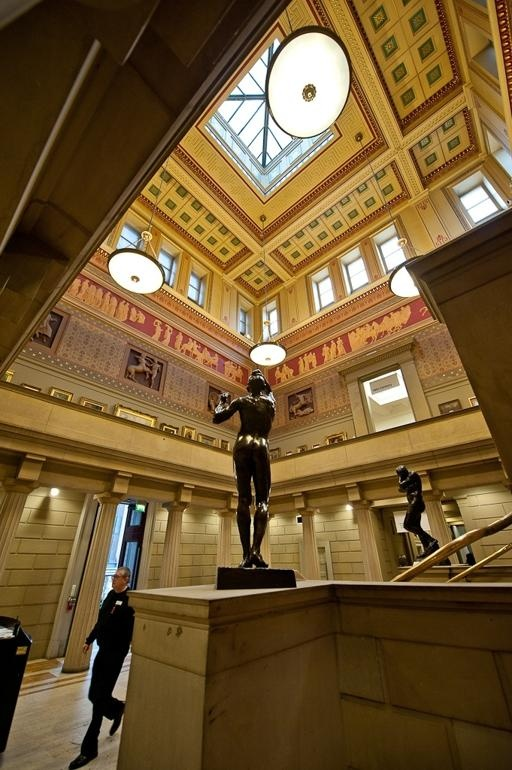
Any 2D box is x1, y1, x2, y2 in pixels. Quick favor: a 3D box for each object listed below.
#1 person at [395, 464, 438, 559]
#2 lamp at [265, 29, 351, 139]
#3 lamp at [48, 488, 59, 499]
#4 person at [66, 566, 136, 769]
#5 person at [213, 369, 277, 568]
[{"bbox_3d":[2.253,1.785,5.387,0.378,1.271,0.611,-12,-30,15],"label":"person"},{"bbox_3d":[0.831,-4.933,6.091,1.296,0.545,1.523,-2,-24,0],"label":"lamp"},{"bbox_3d":[-3.615,1.944,6.767,0.180,0.153,0.122,6,14,-11],"label":"lamp"},{"bbox_3d":[-1.135,2.120,2.913,0.363,1.252,0.316,-2,-29,-3],"label":"person"},{"bbox_3d":[-0.071,0.483,2.788,0.473,1.571,0.778,-4,-28,0],"label":"person"}]
